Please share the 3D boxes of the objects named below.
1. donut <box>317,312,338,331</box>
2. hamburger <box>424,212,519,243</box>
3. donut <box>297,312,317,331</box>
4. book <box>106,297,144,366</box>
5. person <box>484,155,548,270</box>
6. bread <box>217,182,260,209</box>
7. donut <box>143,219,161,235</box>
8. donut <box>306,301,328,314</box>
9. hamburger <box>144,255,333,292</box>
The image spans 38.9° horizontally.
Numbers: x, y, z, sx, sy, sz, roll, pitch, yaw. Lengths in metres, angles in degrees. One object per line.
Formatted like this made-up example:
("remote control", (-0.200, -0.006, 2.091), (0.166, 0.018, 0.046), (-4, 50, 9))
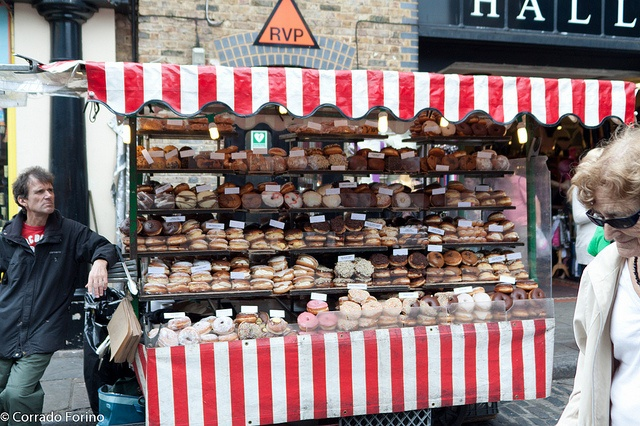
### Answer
("donut", (0.080, 1.211, 10.082), (0.223, 0.193, 0.076), (0, 2, -1))
("hamburger", (1.902, 0.205, 11.125), (0.731, 0.214, 0.514), (1, -2, -7))
("donut", (-0.143, 1.209, 10.072), (0.222, 0.184, 0.139), (0, 2, -2))
("book", (-2.121, 1.283, 9.753), (0.219, 0.472, 0.613), (18, 14, -37))
("person", (2.655, -0.013, 11.824), (0.985, 1.166, 0.759), (6, 0, 8))
("bread", (-0.965, -0.194, 10.666), (0.397, 0.311, 0.137), (7, -25, -15))
("donut", (-1.923, 0.171, 10.372), (0.170, 0.166, 0.114), (30, -5, -8))
("donut", (-0.036, 1.066, 10.288), (0.225, 0.129, 0.192), (1, 2, 3))
("hamburger", (-0.951, 0.746, 10.428), (1.853, 0.417, 0.624), (1, 3, -16))
